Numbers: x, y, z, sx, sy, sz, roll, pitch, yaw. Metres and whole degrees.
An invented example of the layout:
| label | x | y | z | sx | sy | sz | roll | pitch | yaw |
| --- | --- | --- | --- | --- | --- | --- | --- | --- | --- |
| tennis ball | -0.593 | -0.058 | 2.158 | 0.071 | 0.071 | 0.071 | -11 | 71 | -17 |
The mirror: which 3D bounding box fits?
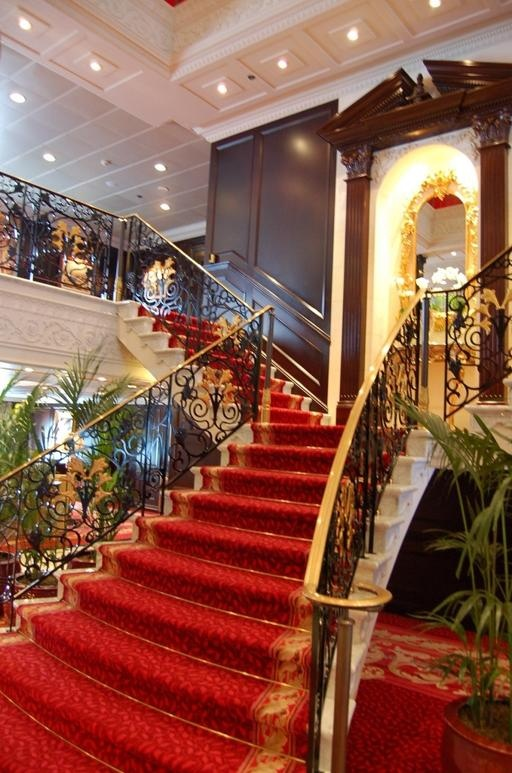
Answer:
| label | x | y | z | sx | sy | sz | roll | pitch | yaw |
| --- | --- | --- | --- | --- | --- | --- | --- | --- | --- |
| mirror | 1.940 | -1.668 | 5.637 | 0.774 | 1.267 | 0.055 | 0 | -14 | 19 |
